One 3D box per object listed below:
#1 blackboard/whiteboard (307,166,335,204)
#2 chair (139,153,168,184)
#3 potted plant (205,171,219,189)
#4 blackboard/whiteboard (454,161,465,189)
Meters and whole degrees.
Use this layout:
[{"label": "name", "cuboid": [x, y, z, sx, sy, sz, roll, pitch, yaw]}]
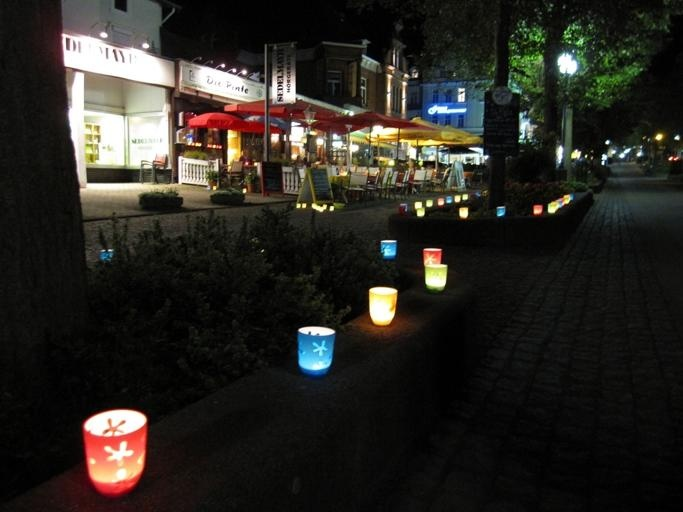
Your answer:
[{"label": "blackboard/whiteboard", "cuboid": [-0.630, -2.052, 16.255, 0.670, 1.256, 0.870, 17, 28, 40]}, {"label": "chair", "cuboid": [-7.851, -3.706, 23.348, 1.207, 1.173, 1.448, -3, 11, -15]}, {"label": "potted plant", "cuboid": [-4.920, -2.948, 21.273, 0.574, 0.744, 0.669, 0, 10, -5]}, {"label": "blackboard/whiteboard", "cuboid": [5.742, -3.918, 26.957, 0.548, 1.540, 1.528, -3, 14, 14]}]
